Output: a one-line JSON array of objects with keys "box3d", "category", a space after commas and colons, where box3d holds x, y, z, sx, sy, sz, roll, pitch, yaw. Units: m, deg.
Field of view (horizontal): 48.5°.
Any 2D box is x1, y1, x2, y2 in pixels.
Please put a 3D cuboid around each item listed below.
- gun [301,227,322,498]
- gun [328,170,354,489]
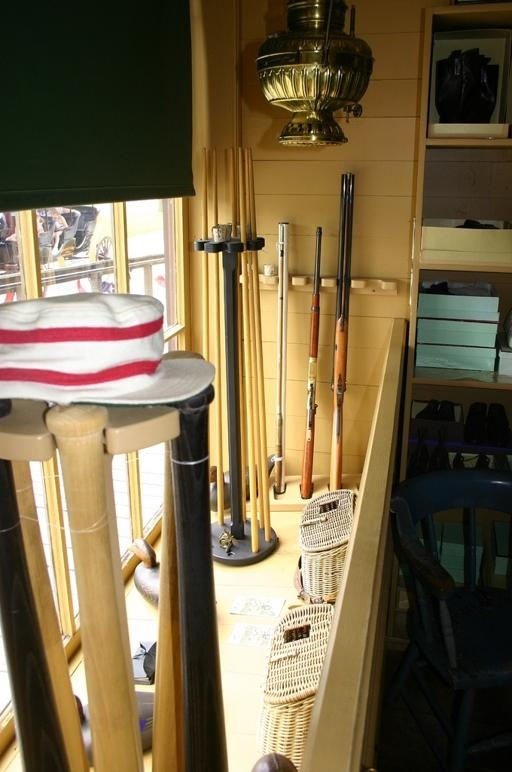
[{"box3d": [0.279, -0.084, 3.006, 0.117, 1.363, 0.118, -2, 18, -13], "category": "gun"}, {"box3d": [0.441, -0.247, 2.954, 0.124, 1.626, 0.289, 1, 14, 11], "category": "gun"}]
